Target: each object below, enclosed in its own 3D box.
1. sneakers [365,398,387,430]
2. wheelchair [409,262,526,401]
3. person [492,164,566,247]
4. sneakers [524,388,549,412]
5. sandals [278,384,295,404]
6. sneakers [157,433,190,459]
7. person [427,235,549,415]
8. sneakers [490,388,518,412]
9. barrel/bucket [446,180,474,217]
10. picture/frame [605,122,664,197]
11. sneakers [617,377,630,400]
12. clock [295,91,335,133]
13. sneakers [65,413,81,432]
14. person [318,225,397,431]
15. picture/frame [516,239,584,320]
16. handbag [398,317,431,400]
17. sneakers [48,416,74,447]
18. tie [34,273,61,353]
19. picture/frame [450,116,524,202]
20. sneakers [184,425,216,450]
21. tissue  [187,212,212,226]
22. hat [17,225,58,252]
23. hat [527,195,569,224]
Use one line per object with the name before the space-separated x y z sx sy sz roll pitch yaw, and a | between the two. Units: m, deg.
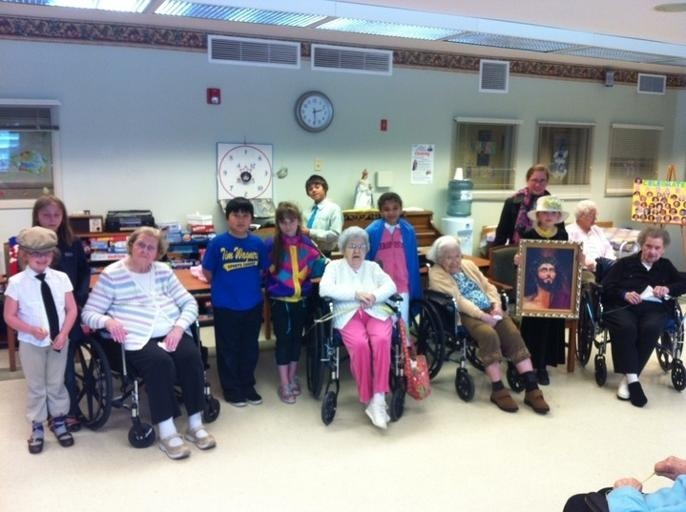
sneakers | 0.295 1.331 5.000 0.194 0.307 0.274 -1 7 4
wheelchair | 0.896 0.696 5.841 1.235 1.257 1.111 17 -8 -15
person | 2.044 -0.208 6.489 0.595 1.551 0.481 7 0 10
sneakers | 1.740 1.322 5.298 0.102 0.125 0.287 -7 8 -16
sandals | -0.518 1.282 5.345 0.093 0.094 0.201 -4 8 -29
sneakers | -1.329 1.500 4.604 0.234 0.183 0.234 -4 8 -19
person | 1.300 0.620 5.501 0.666 1.279 1.345 -15 25 -21
sneakers | 1.466 1.319 5.291 0.118 0.100 0.246 -12 15 -29
barrel/bucket | 1.700 -0.848 8.525 0.362 0.542 0.222 -1 7 7
picture/frame | 4.756 -1.610 9.588 1.260 1.500 0.203 -5 18 -21
sneakers | 2.649 1.261 5.517 0.089 0.199 0.148 0 7 12
clock | -0.393 -1.917 7.662 0.548 0.571 0.075 -3 8 -26
sneakers | -2.241 1.402 4.843 0.090 0.154 0.149 -1 -3 -11
person | 0.125 0.588 5.130 0.631 1.656 0.604 1 8 15
picture/frame | 1.936 0.225 5.469 0.728 0.971 0.109 1 0 -2
handbag | 0.643 0.934 5.176 0.242 0.806 0.390 0 7 12
sneakers | -2.300 1.413 4.747 0.151 0.128 0.316 -9 15 -42
tie | -2.294 0.403 4.534 0.134 0.532 0.077 0 8 14
picture/frame | 2.101 -1.491 8.687 1.426 1.731 0.133 -3 10 -22
sneakers | -1.142 1.477 4.672 0.258 0.108 0.129 11 14 40
tissue  | -1.783 -0.450 7.225 0.190 0.122 0.194 5 8 43
hat | -2.372 -0.126 4.511 0.258 0.191 0.199 -6 9 -33
hat | 2.154 -0.490 6.177 0.535 0.259 0.554 2 -11 15
